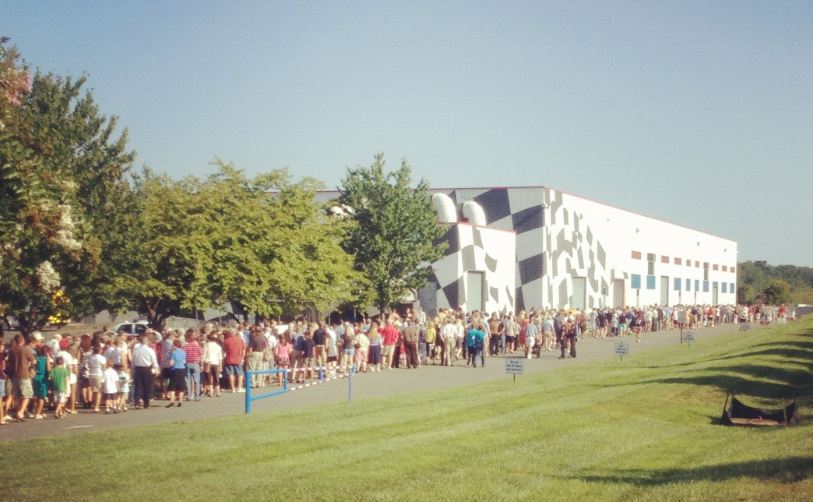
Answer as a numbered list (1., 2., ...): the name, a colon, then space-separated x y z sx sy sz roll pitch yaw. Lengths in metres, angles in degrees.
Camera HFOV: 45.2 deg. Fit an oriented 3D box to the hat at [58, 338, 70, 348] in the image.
1. hat: -14.318 3.890 40.742 0.421 0.418 1.040 -5 12 -21
